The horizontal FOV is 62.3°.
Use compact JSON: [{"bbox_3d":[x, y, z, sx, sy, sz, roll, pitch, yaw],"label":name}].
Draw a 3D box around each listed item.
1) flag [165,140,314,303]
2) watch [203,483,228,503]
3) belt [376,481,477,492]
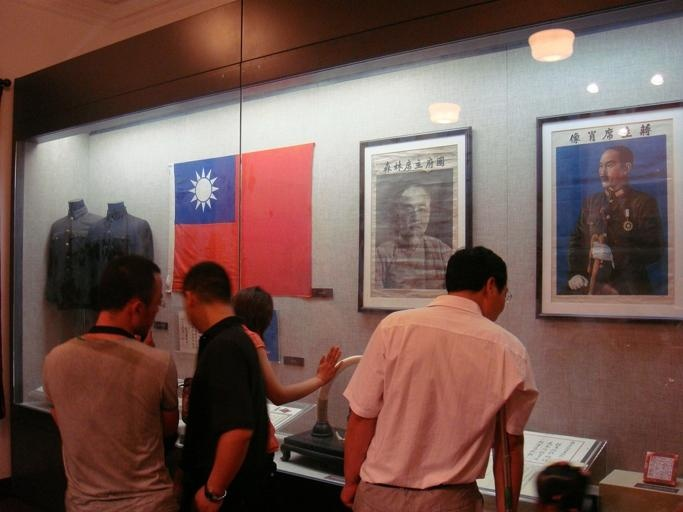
[{"bbox_3d":[-0.600,-0.198,3.341,0.877,0.826,0.039,0,-1,9],"label":"flag"},{"bbox_3d":[-0.514,0.969,2.295,0.080,0.083,0.033,-40,15,0],"label":"watch"},{"bbox_3d":[0.328,0.901,2.205,0.406,0.034,0.076,2,1,0],"label":"belt"}]
